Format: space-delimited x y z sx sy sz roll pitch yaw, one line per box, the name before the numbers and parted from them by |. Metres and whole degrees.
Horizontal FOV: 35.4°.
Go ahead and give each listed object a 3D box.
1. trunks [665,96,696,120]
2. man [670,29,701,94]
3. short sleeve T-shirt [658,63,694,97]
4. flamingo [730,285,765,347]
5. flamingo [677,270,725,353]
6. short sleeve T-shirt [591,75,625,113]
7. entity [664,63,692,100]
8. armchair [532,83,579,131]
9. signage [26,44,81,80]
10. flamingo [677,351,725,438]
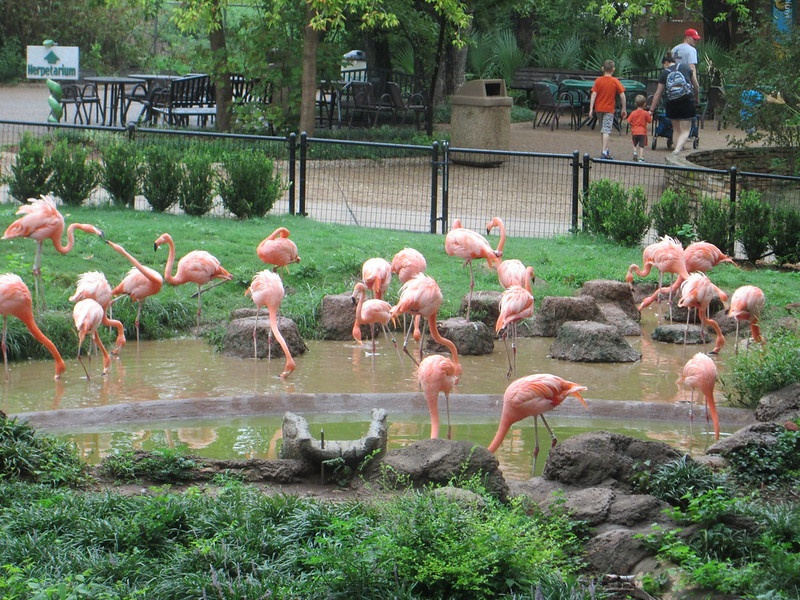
trunks | 5.422 -3.833 24.194 0.579 0.606 0.365 10 35 33
man | 5.845 -4.763 25.454 0.417 1.557 0.608 -22 38 -19
short sleeve T-shirt | 5.334 -4.237 24.007 0.534 0.740 0.397 -19 -3 32
flamingo | 4.255 0.237 15.348 0.390 0.832 1.035 2 7 15
flamingo | 3.889 0.152 15.882 0.320 1.096 1.310 -3 1 38
short sleeve T-shirt | 4.167 -4.145 25.067 0.582 0.751 0.651 1 7 8
entity | 5.338 -4.183 23.971 0.527 0.689 0.518 3 7 23
armchair | 3.915 -4.843 30.871 0.861 1.165 0.835 -11 13 -42
signage | -6.558 -4.492 23.460 0.884 0.596 0.760 -3 7 -24
flamingo | 3.359 0.994 14.016 0.458 0.912 1.138 2 7 11
